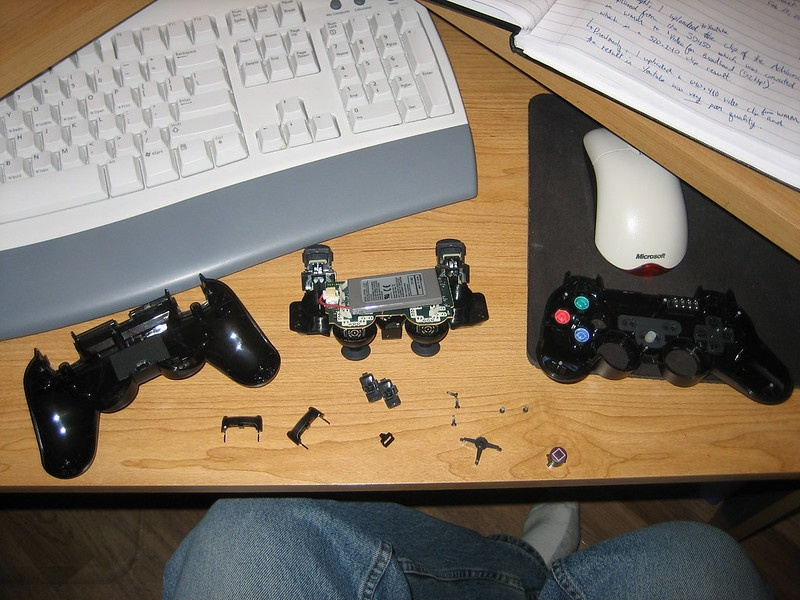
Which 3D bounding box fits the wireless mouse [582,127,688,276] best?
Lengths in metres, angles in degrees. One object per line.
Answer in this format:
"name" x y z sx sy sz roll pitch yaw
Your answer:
"wireless mouse" 0.339 -0.133 0.957 0.124 0.062 0.197 -1 72 -4
